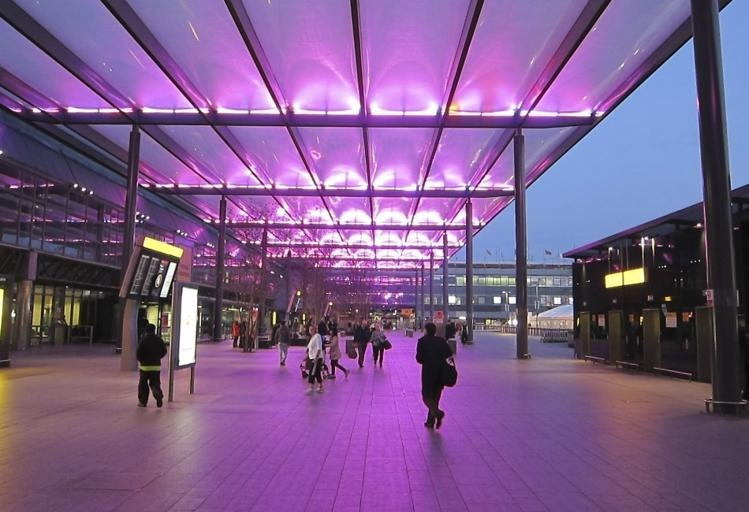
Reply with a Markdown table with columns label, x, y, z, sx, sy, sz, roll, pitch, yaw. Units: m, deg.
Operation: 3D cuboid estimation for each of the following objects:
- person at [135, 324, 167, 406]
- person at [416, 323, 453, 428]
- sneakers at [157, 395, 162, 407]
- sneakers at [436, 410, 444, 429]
| label | x | y | z | sx | sy | sz | roll | pitch | yaw |
| --- | --- | --- | --- | --- | --- | --- | --- | --- | --- |
| person | -5.784 | 2.764 | 13.058 | 0.685 | 2.098 | 1.381 | 5 | -11 | -23 |
| person | 1.325 | 2.580 | 11.206 | 0.722 | 2.275 | 1.012 | -1 | -10 | 7 |
| sneakers | -5.342 | 3.617 | 12.536 | 0.145 | 0.225 | 0.287 | 5 | -12 | -23 |
| sneakers | 1.401 | 3.484 | 10.670 | 0.147 | 0.447 | 0.177 | 3 | 19 | -7 |
